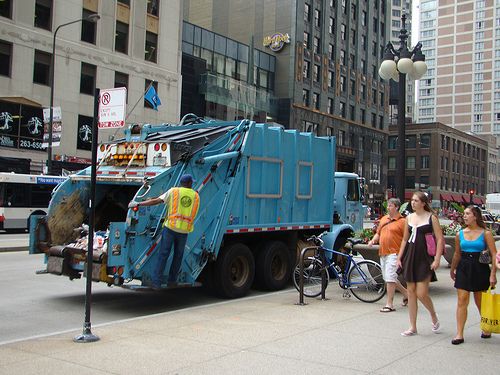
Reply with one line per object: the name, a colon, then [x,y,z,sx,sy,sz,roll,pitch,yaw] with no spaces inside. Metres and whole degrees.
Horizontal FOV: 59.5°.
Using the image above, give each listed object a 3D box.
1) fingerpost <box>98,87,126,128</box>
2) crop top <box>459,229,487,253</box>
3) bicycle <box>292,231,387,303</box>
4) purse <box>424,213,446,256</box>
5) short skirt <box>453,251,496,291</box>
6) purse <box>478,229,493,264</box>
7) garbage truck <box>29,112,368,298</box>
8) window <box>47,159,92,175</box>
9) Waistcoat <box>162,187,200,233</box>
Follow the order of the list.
fingerpost: [-2.201,-1.271,6.969,0.463,0.672,0.486,0,0,-5]
crop top: [3.427,0.806,6.746,0.385,0.374,0.235,-3,-2,33]
bicycle: [1.952,1.802,9.931,2.039,1.479,1.084,3,2,27]
purse: [2.929,0.826,7.123,0.289,0.675,0.474,-1,-7,7]
short skirt: [3.365,1.291,6.622,0.476,0.659,0.472,5,-4,-27]
purse: [3.534,0.899,6.644,0.202,0.613,0.560,-1,-4,24]
garbage truck: [-0.782,0.275,11.535,3.954,4.461,7.957,1,0,43]
window: [-10.396,-1.169,24.604,0.217,0.661,1.991,-12,-10,33]
Waistcoat: [-1.346,0.411,8.297,0.626,0.898,0.425,13,-4,-33]
